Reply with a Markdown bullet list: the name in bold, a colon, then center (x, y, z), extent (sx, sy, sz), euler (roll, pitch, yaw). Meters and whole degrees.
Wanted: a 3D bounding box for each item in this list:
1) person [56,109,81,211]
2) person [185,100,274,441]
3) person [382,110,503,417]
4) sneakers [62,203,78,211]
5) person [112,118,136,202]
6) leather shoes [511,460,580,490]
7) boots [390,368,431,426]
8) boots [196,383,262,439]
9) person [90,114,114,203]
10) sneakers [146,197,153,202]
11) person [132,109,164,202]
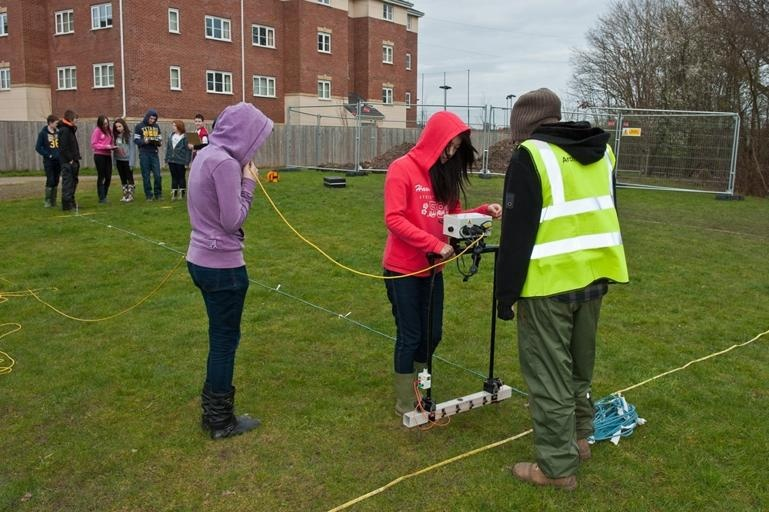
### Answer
- **person**: center (-6.844, -2.074, 13.300), extent (0.471, 2.108, 0.825), euler (-6, 13, -28)
- **person**: center (-1.498, 0.141, 5.983), extent (0.758, 3.200, 0.574), euler (-7, 13, -28)
- **person**: center (0.481, 0.088, 6.255), extent (0.905, 3.062, 0.684), euler (-8, 14, -35)
- **sneakers**: center (-6.839, -1.055, 13.324), extent (0.195, 0.156, 0.200), euler (0, 0, -10)
- **person**: center (-6.144, -2.273, 14.527), extent (0.469, 1.946, 0.837), euler (-5, 13, -23)
- **leather shoes**: center (1.493, 1.979, 5.639), extent (0.587, 0.264, 0.221), euler (11, 1, 24)
- **boots**: center (0.281, 1.366, 6.507), extent (0.359, 0.693, 0.569), euler (-3, 16, -3)
- **boots**: center (-1.521, 1.538, 6.058), extent (0.552, 0.410, 0.403), euler (-4, 7, -34)
- **person**: center (-6.496, -2.241, 14.234), extent (0.465, 2.007, 1.206), euler (-5, 13, -23)
- **sneakers**: center (-5.689, -1.363, 14.875), extent (0.113, 0.126, 0.120), euler (2, 1, -7)
- **person**: center (-5.812, -2.520, 15.147), extent (0.580, 2.164, 1.342), euler (-4, 13, -20)
